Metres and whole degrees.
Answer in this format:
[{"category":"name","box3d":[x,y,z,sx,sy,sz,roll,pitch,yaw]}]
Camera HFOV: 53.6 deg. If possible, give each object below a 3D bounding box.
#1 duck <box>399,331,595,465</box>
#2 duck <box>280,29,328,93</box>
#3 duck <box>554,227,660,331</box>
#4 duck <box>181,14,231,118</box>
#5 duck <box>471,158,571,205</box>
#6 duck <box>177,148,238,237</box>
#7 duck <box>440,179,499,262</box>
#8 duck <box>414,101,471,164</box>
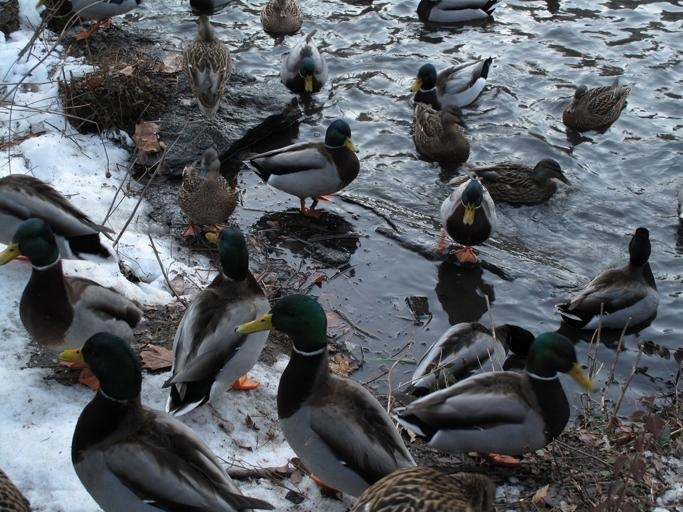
[{"category":"duck","box3d":[1.267,1.197,5.670,1.535,1.108,0.779,-1,13,13]},{"category":"duck","box3d":[-0.589,-3.273,10.886,0.543,1.105,0.694,-2,-1,-4]},{"category":"duck","box3d":[3.104,0.324,7.602,1.161,1.161,0.461,-10,34,-23]},{"category":"duck","box3d":[-1.789,-2.624,9.393,0.671,1.361,0.885,-1,-13,-2]},{"category":"duck","box3d":[2.513,-1.016,9.335,1.081,0.574,0.663,8,31,3]},{"category":"duck","box3d":[-1.569,-0.696,8.031,0.693,0.877,1.089,-13,52,-7]},{"category":"duck","box3d":[1.546,-0.453,8.323,0.616,0.831,1.147,3,51,7]},{"category":"duck","box3d":[1.427,-1.980,10.143,0.815,0.391,0.984,14,38,-21]}]
